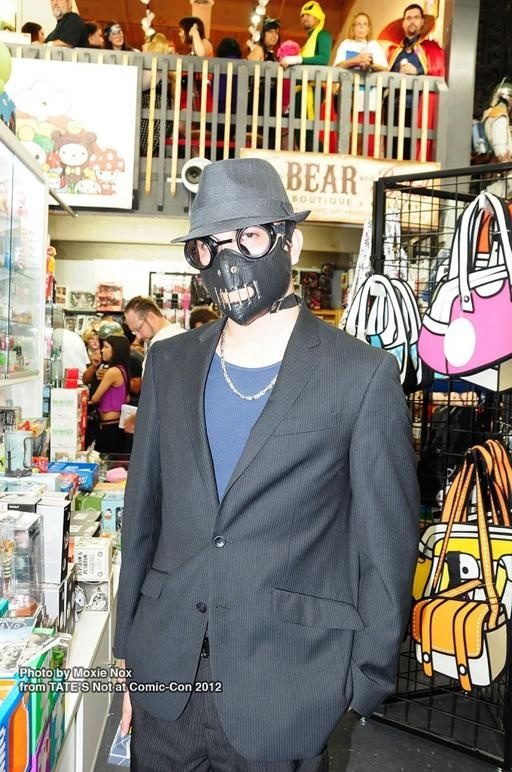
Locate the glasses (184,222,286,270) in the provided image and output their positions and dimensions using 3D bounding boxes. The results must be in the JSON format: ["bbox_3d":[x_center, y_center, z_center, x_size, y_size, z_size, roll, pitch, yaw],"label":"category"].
[{"bbox_3d":[-0.031,-0.225,0.970,0.093,0.033,0.099,-15,11,16],"label":"glasses"}]

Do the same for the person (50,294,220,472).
[{"bbox_3d":[-1.020,0.067,5.013,0.945,1.677,1.024,-6,13,-44],"label":"person"}]

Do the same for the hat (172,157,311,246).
[{"bbox_3d":[-0.023,-0.283,0.946,0.168,0.094,0.150,-22,14,-31],"label":"hat"}]
